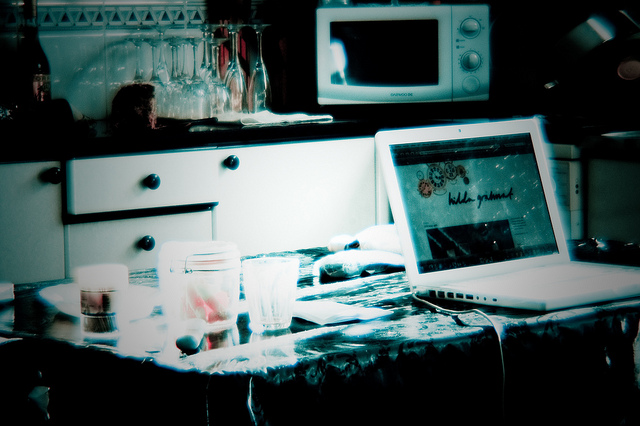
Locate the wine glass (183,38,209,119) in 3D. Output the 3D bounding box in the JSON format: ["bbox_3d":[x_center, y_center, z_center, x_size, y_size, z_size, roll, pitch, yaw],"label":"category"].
[{"bbox_3d":[-0.521,-0.568,2.309,0.113,0.314,0.404,-4,15,-10],"label":"wine glass"}]

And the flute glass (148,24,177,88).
[{"bbox_3d":[-0.670,-0.639,2.342,0.107,0.319,0.080,-5,9,-20],"label":"flute glass"}]

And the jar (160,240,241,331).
[{"bbox_3d":[-0.192,0.113,0.911,0.102,0.155,0.097,2,10,0],"label":"jar"}]

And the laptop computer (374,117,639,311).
[{"bbox_3d":[0.373,-0.008,1.007,0.478,0.292,0.282,-5,16,-16],"label":"laptop computer"}]

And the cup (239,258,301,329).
[{"bbox_3d":[-0.077,0.120,0.872,0.104,0.112,0.105,-1,2,0],"label":"cup"}]

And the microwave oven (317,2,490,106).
[{"bbox_3d":[0.343,-0.664,2.578,0.727,0.478,0.456,-4,10,-9],"label":"microwave oven"}]

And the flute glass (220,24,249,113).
[{"bbox_3d":[-0.377,-0.631,2.416,0.141,0.382,0.131,-1,11,2],"label":"flute glass"}]

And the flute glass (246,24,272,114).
[{"bbox_3d":[-0.271,-0.629,2.416,0.115,0.391,0.123,22,32,29],"label":"flute glass"}]

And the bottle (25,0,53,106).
[{"bbox_3d":[-1.123,-0.636,2.164,0.092,0.399,0.385,-8,17,-24],"label":"bottle"}]
